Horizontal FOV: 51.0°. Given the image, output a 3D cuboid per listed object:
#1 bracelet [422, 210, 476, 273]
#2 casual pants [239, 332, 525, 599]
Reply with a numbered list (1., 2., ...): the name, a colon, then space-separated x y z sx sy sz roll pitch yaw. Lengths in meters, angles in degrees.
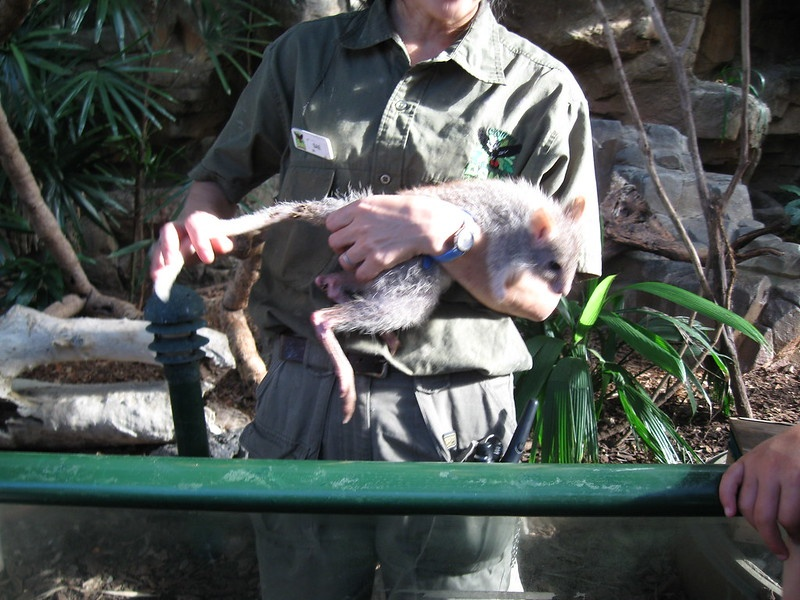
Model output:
1. bracelet: 0.162 -0.159 2.577 0.048 0.163 0.164 54 10 21
2. casual pants: -0.031 0.488 2.427 0.668 0.774 0.417 1 -13 2
